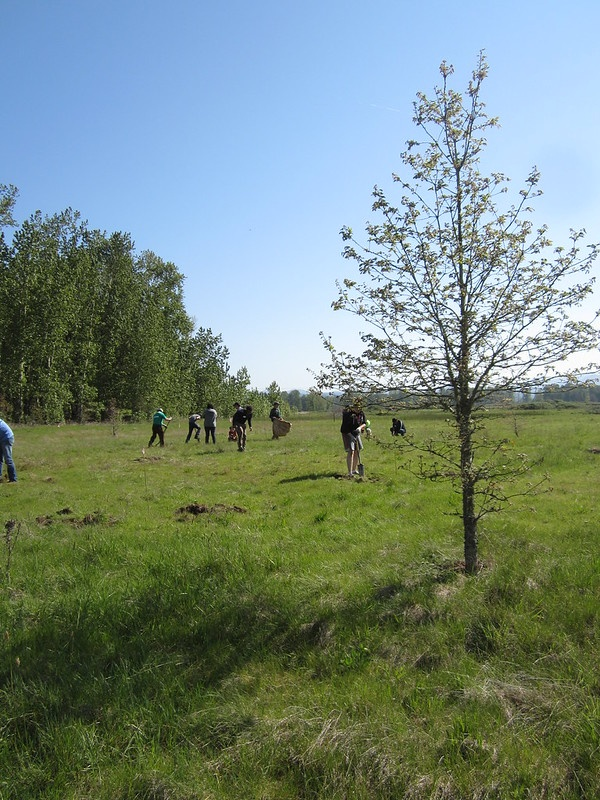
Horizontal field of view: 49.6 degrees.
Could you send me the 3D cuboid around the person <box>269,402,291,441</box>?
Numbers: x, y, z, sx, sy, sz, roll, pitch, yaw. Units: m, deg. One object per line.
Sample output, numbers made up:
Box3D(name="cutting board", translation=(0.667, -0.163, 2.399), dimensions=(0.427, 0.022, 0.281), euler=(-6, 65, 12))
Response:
Box3D(name="person", translation=(-1.339, 1.287, 41.912), dimensions=(0.901, 2.535, 1.685), euler=(4, 23, 33))
